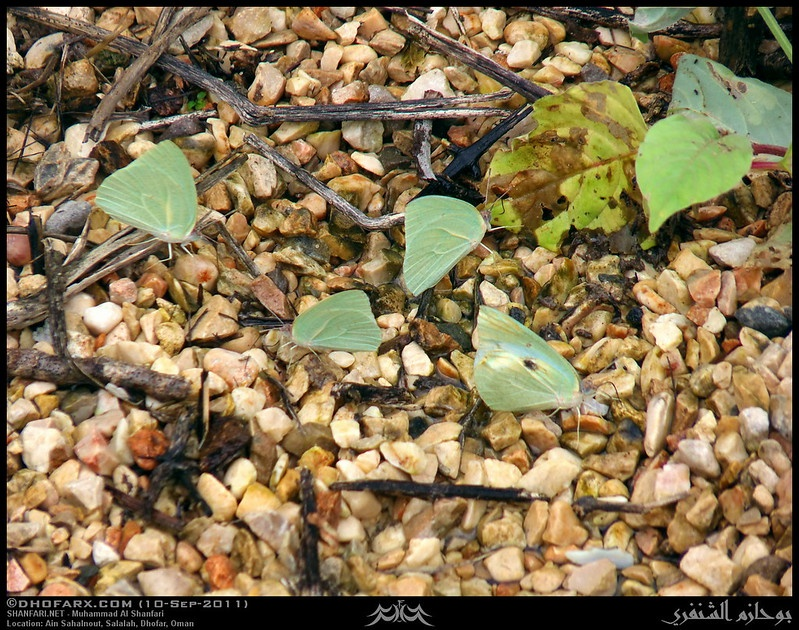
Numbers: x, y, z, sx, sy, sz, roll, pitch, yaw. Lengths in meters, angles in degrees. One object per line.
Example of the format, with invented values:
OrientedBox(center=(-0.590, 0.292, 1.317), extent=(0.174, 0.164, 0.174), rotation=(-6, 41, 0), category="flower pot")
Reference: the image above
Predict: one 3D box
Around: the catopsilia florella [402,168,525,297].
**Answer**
OrientedBox(center=(0.176, -0.303, 3.156), extent=(0.346, 0.341, 0.159), rotation=(-25, 11, 14), category="catopsilia florella")

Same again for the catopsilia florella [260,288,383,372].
OrientedBox(center=(-0.235, 0.063, 3.090), extent=(0.300, 0.218, 0.310), rotation=(6, -25, -18), category="catopsilia florella")
